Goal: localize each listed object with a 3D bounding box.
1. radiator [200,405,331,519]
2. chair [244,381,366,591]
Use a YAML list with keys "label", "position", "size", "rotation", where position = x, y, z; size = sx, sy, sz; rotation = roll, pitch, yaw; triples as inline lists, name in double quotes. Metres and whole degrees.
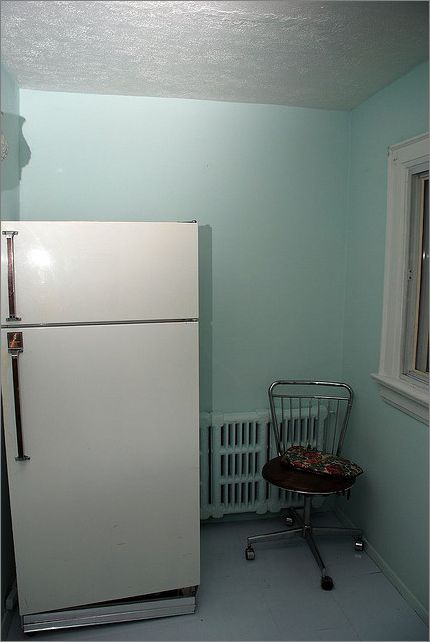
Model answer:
- label: "radiator"
  position: [0.246, 0.740, 2.671]
  size: [0.611, 0.538, 0.085]
  rotation: [-1, 8, -12]
- label: "chair"
  position: [0.447, 0.780, 2.467]
  size: [0.535, 0.858, 0.561]
  rotation: [2, 11, 23]
